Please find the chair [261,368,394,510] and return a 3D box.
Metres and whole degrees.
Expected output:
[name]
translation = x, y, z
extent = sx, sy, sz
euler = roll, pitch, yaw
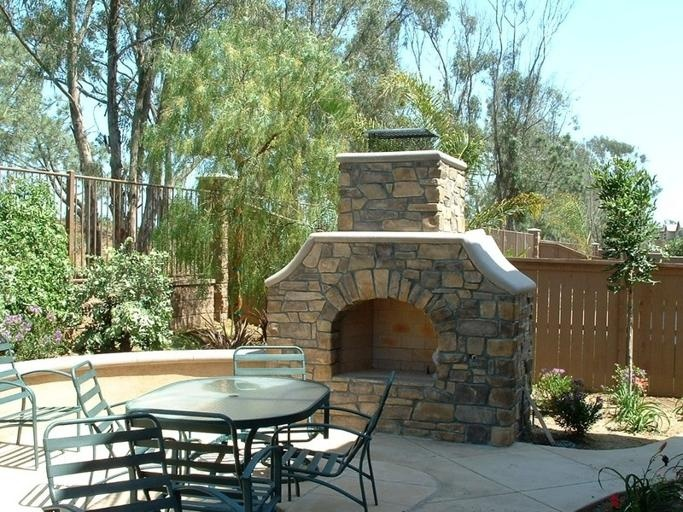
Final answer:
[chair]
translation = -0.182, 2.161, 7.599
extent = 1.299, 2.124, 1.345
euler = 3, -3, 13
